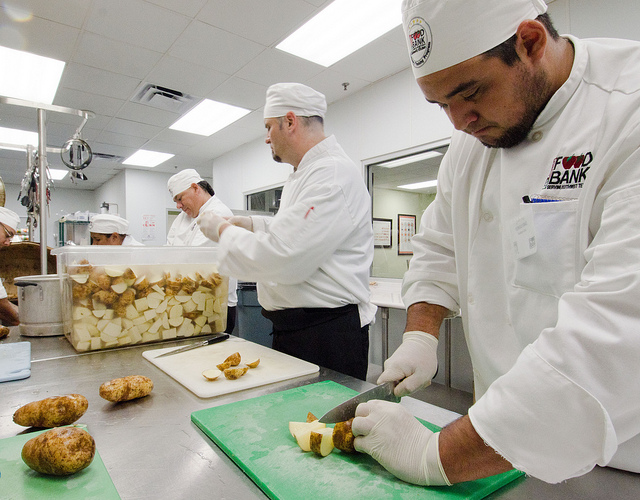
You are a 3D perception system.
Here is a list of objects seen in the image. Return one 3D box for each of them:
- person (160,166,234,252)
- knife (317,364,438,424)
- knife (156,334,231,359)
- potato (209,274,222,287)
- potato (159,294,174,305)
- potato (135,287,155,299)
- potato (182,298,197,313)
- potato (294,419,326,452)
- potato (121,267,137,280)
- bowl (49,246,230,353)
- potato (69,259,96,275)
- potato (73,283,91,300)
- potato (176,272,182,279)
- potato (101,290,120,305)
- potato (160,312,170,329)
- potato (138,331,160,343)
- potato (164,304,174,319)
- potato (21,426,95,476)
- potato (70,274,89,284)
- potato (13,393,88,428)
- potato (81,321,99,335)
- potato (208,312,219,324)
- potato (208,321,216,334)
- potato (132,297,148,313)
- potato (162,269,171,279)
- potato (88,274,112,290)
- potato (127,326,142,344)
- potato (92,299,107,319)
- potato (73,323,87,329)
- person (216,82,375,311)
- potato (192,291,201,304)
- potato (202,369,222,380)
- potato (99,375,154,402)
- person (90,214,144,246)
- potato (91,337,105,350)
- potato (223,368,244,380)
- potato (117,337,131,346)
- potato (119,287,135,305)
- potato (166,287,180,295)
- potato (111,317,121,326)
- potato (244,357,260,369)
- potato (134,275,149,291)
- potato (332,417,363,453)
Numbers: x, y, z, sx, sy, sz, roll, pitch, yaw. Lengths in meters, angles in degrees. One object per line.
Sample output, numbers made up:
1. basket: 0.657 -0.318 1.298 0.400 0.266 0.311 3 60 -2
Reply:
1. person: -0.953 -0.271 3.018 0.496 0.733 0.916 -7 10 -33
2. knife: 0.143 0.354 0.930 0.299 0.038 0.075 -27 26 8
3. knife: -0.470 0.365 1.469 0.022 0.017 0.205 10 11 39
4. potato: -0.432 0.132 1.668 0.040 0.016 0.037 47 18 27
5. potato: -0.594 0.194 1.543 0.030 0.029 0.008 -25 58 -40
6. potato: -0.652 0.165 1.478 0.032 0.042 0.044 -11 -7 2
7. potato: -0.522 0.229 1.596 0.041 0.057 0.074 4 4 39
8. potato: -0.014 0.390 0.820 0.045 0.017 0.048 -9 -2 36
9. potato: -0.693 0.089 1.450 0.027 0.037 0.035 37 46 16
10. bowl: -0.705 0.179 1.658 0.558 0.357 0.407 1 -2 -31
11. potato: -0.824 0.066 1.394 0.056 0.059 0.018 11 -23 -15
12. potato: -0.836 0.149 1.403 0.053 0.056 0.023 28 5 -20
13. potato: -0.552 0.101 1.564 0.020 0.016 0.021 3 -15 -15
14. potato: -0.752 0.175 1.430 0.039 0.029 0.050 17 32 0
15. potato: -0.605 0.281 1.556 0.018 0.059 0.033 6 25 -1
16. potato: -0.660 0.347 1.549 0.071 0.044 0.053 0 -3 -29
17. potato: -0.589 0.242 1.557 0.036 0.037 0.040 -15 35 -25
18. potato: -0.489 0.377 0.747 0.133 0.092 0.083 -6 -9 9
19. potato: -0.834 0.104 1.391 0.054 0.035 0.012 0 5 -5
20. potato: -0.618 0.380 0.920 0.174 0.079 0.095 -12 -13 10
21. potato: -0.820 0.288 1.437 0.043 0.045 0.012 9 -6 -43
22. potato: -0.450 0.294 1.685 0.035 0.012 0.044 28 17 7
23. potato: -0.455 0.334 1.697 0.031 0.039 0.037 -4 -8 9
24. potato: -0.670 0.211 1.485 0.045 0.050 0.045 1 -5 -36
25. potato: -0.589 0.097 1.534 0.008 0.031 0.031 -9 -27 34
26. potato: -0.776 0.121 1.408 0.044 0.033 0.058 31 -12 -2
27. potato: -0.703 0.325 1.510 0.042 0.081 0.042 -20 -12 9
28. potato: -0.784 0.199 1.425 0.043 0.040 0.011 -3 6 -34
29. potato: -0.852 0.275 1.420 0.029 0.018 0.021 -1 -2 -17
30. person: -0.080 -0.159 1.603 0.390 0.999 0.626 0 2 -23
31. potato: -0.497 0.192 1.607 0.009 0.042 0.037 -1 -33 36
32. potato: -0.309 0.368 1.153 0.053 0.018 0.043 -2 5 -18
33. potato: -0.503 0.353 1.043 0.116 0.055 0.059 1 0 -42
34. person: -2.157 -0.220 4.267 0.370 0.339 0.753 -2 4 -32
35. potato: -0.811 0.349 1.461 0.041 0.045 0.043 1 0 -26
36. potato: -0.251 0.367 1.156 0.058 0.032 0.027 0 5 1
37. potato: -0.737 0.350 1.504 0.046 0.029 0.010 -2 6 -22
38. potato: -0.696 0.171 1.454 0.053 0.055 0.020 -20 3 -38
39. potato: -0.579 0.161 1.548 0.027 0.022 0.028 11 -3 -9
40. potato: -0.751 0.269 1.467 0.024 0.011 0.020 -7 23 -17
41. potato: -0.209 0.366 1.273 0.027 0.012 0.030 -3 8 38
42. potato: -0.658 0.126 1.475 0.047 0.030 0.048 -24 5 -35
43. potato: 0.061 0.386 0.826 0.055 0.073 0.069 -21 -37 25
